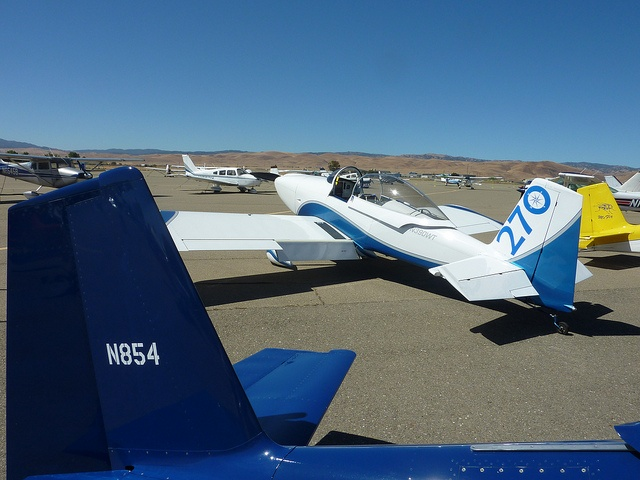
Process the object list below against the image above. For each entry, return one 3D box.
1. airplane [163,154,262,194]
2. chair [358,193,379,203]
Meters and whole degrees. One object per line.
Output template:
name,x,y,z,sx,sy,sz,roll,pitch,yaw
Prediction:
airplane,-6.874,-4.324,30.491,5.419,1.540,5.561,11,-16,-15
chair,0.898,-0.760,8.146,0.281,0.219,0.199,-1,30,-7
